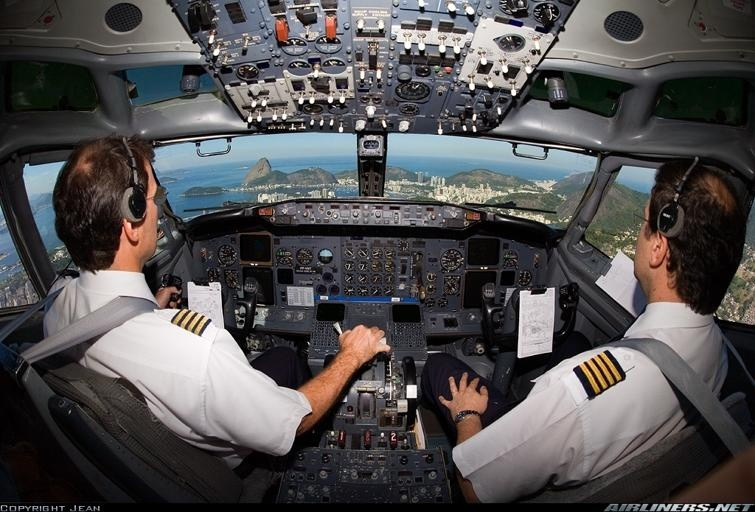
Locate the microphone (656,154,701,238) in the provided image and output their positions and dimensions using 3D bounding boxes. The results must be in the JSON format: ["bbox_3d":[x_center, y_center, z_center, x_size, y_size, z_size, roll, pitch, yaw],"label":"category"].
[{"bbox_3d":[1.655,-0.309,2.647,0.140,0.315,0.380,28,-3,30],"label":"microphone"}]

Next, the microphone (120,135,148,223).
[{"bbox_3d":[-1.341,-0.393,2.668,0.107,0.376,0.305,-9,-3,-19],"label":"microphone"}]

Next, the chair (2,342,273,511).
[{"bbox_3d":[-1.270,0.863,2.785,0.853,1.152,0.439,-9,29,20],"label":"chair"}]
